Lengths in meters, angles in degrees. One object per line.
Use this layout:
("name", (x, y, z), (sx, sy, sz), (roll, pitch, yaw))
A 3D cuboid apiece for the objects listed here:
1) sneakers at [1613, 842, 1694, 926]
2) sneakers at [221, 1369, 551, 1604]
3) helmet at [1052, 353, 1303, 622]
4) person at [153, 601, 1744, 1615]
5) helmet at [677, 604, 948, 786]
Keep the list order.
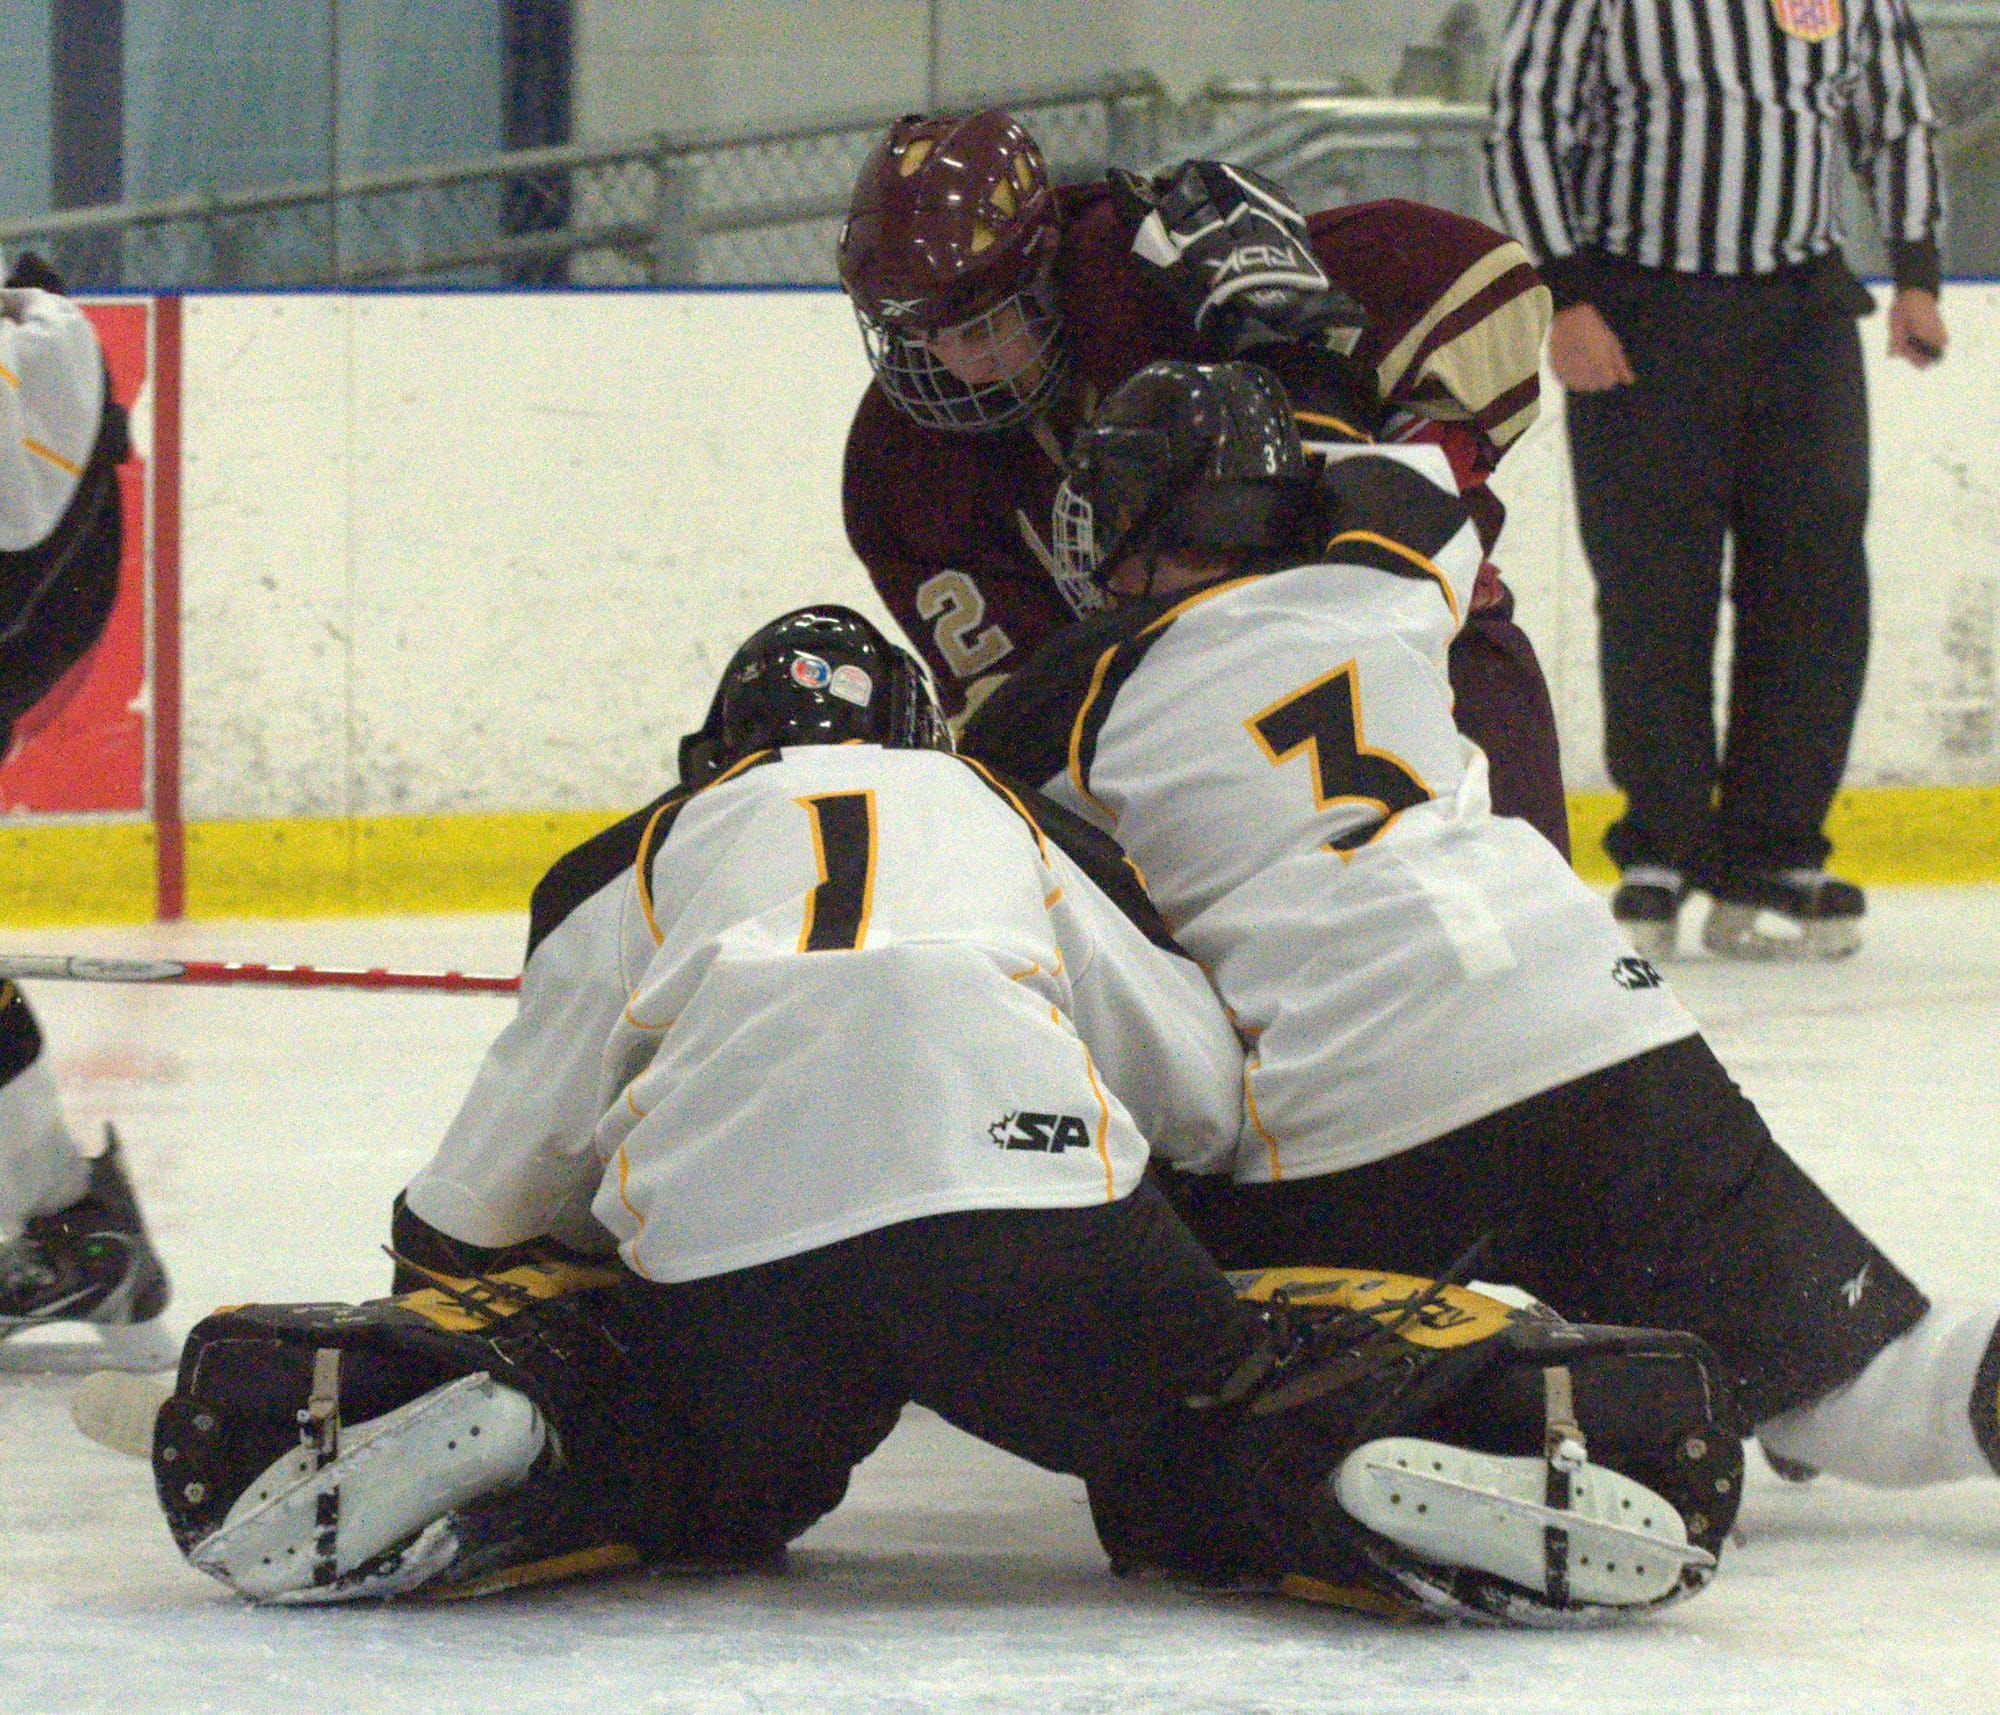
("sneakers", (1.163, 0.046, 6.007), (0.108, 0.131, 0.155), (1, -6, 12))
("sneakers", (-0.462, 0.468, 2.520), (0.242, 0.136, 0.106), (-18, 36, -7))
("helmet", (0.186, -0.346, 2.959), (0.225, 0.180, 0.187), (-1, 7, 21))
("person", (-0.075, 0.309, 2.783), (0.897, 0.326, 0.815), (0, 30, -4))
("helmet", (-0.145, -0.137, 2.812), (0.198, 0.132, 0.167), (-17, 2, 26))
